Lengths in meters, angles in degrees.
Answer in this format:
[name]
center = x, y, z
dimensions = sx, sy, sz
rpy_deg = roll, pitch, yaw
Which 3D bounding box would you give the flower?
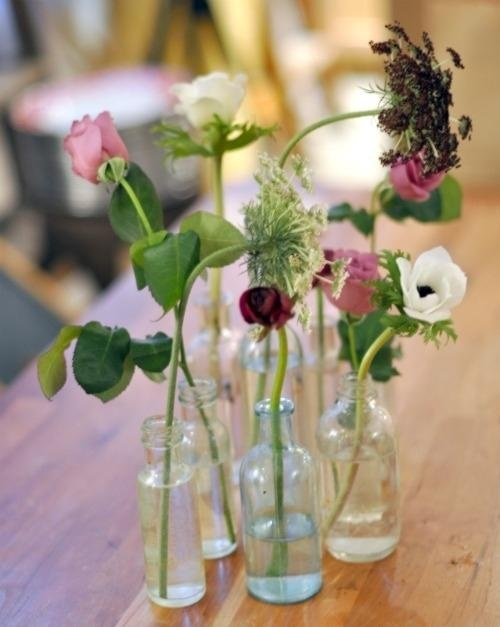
[flower]
center = 0.033, -0.028, 0.579
dimensions = 0.300, 0.419, 0.437
rpy_deg = 6, 30, 17
